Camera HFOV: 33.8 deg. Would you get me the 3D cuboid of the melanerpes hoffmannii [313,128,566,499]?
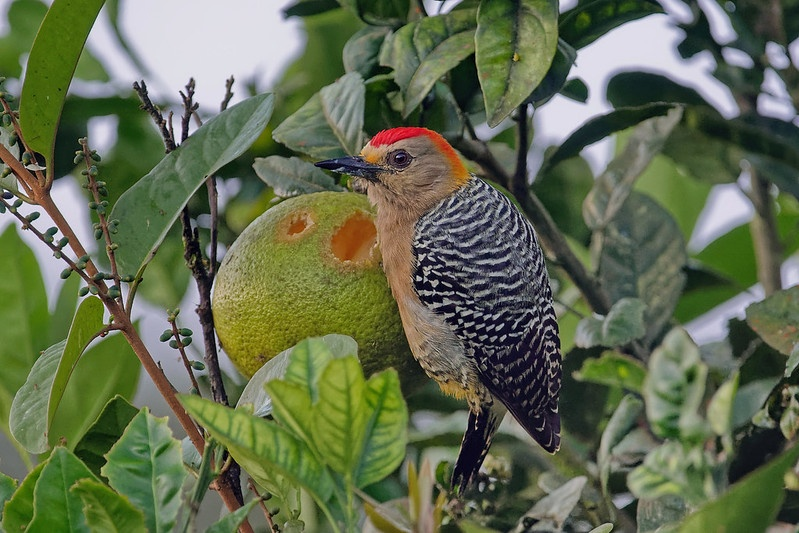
[{"bbox_3d":[0.143,0.142,4.111,0.729,1.143,0.492,2,3,-3],"label":"melanerpes hoffmannii"}]
